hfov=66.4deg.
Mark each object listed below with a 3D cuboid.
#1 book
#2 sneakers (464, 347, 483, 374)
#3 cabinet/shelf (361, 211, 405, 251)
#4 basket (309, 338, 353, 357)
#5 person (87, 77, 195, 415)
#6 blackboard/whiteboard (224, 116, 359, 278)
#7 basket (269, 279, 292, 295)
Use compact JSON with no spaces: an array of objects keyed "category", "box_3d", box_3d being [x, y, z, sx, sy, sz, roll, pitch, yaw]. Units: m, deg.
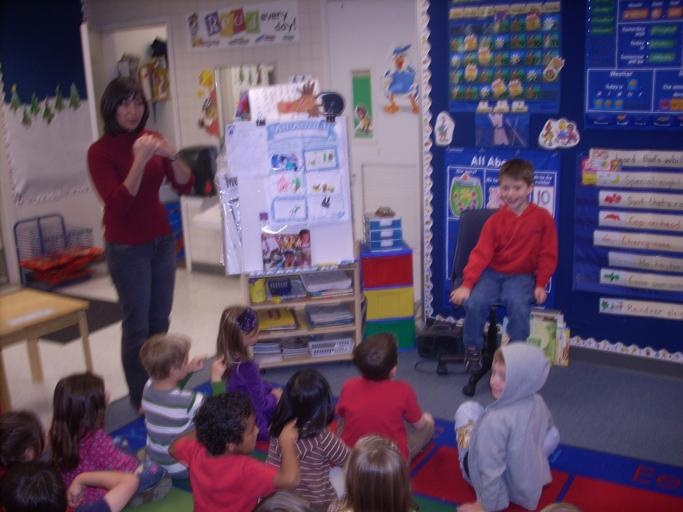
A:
[{"category":"book","box_3d":[-0.290,0.474,4.033,0.619,0.670,0.358,-4,6,-15]},{"category":"sneakers","box_3d":[0.973,0.749,3.810,0.121,0.196,0.084,-3,4,9]},{"category":"cabinet/shelf","box_3d":[0.354,-0.188,4.192,0.287,0.310,0.307,-4,13,-1]},{"category":"basket","box_3d":[-0.072,0.717,4.092,0.244,0.108,0.169,-4,2,-4]},{"category":"person","box_3d":[-1.247,-0.004,3.344,0.556,2.158,0.477,-7,13,-27]},{"category":"blackboard/whiteboard","box_3d":[-0.390,-0.435,3.753,0.970,1.138,0.055,-5,10,-6]},{"category":"basket","box_3d":[-0.478,0.242,4.041,0.174,0.102,0.135,-3,12,-9]}]
